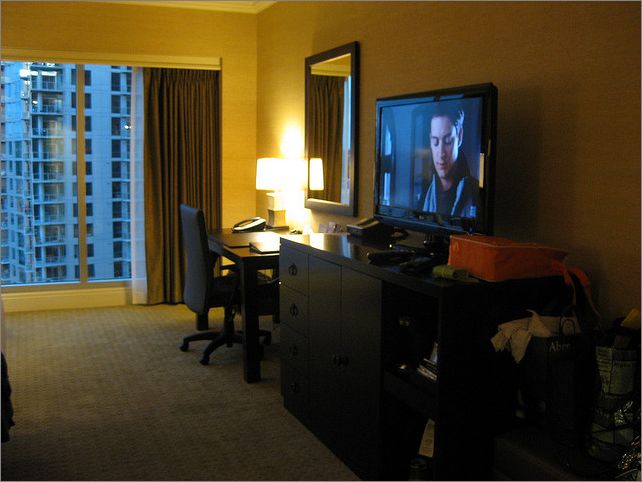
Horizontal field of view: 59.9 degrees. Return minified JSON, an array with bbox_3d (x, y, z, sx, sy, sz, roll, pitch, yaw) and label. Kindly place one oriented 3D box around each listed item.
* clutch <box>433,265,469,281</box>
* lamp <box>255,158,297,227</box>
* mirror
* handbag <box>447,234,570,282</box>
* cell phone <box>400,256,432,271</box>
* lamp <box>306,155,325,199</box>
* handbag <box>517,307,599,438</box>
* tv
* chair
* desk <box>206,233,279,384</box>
[{"bbox_3d":[0.551,0.130,2.340,0.153,0.051,0.083,3,11,10],"label":"clutch"},{"bbox_3d":[-0.408,-0.427,4.950,0.323,0.610,0.355,-4,12,-20],"label":"lamp"},{"bbox_3d":[0.105,-0.877,4.233,0.065,1.468,1.296,-2,8,-18],"label":"mirror"},{"bbox_3d":[0.817,0.066,2.489,0.452,0.138,0.443,0,8,-35],"label":"handbag"},{"bbox_3d":[0.432,0.095,2.466,0.089,0.021,0.066,-15,14,-22],"label":"cell phone"},{"bbox_3d":[-0.069,-0.560,4.636,0.170,0.258,0.168,-2,5,-3],"label":"lamp"},{"bbox_3d":[0.951,0.560,2.254,0.303,0.485,0.189,7,13,28],"label":"handbag"},{"bbox_3d":[0.637,-0.385,2.905,0.288,0.752,0.830,-5,10,-32],"label":"tv"},{"bbox_3d":[-0.707,0.302,4.329,0.712,1.069,0.678,-1,2,-31],"label":"chair"},{"bbox_3d":[-0.586,0.498,4.144,0.497,0.609,0.959,-3,10,-19],"label":"desk"}]
